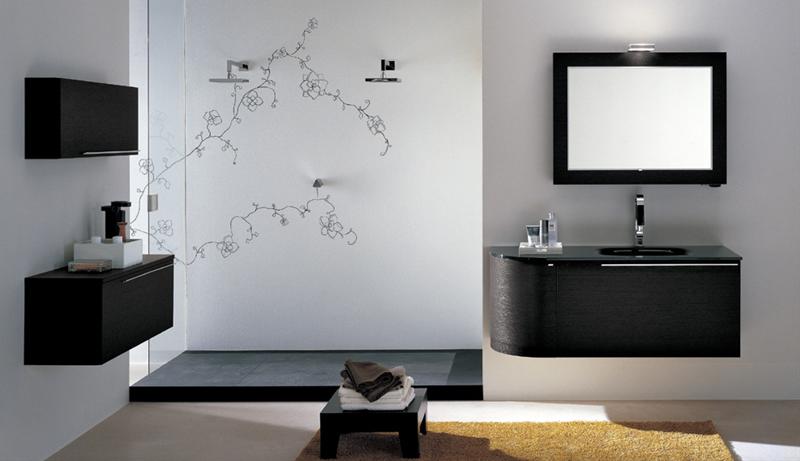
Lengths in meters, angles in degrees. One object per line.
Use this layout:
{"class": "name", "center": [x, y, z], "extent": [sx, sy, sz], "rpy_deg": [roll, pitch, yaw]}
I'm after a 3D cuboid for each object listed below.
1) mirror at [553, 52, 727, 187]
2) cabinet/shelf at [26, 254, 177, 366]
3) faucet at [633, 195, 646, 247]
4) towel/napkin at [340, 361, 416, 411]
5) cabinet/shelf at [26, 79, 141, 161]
{"class": "mirror", "center": [2.160, -1.002, 5.376], "extent": [1.262, 1.009, 0.159], "rpy_deg": [0, 1, 2]}
{"class": "cabinet/shelf", "center": [-2.332, 0.612, 4.807], "extent": [0.549, 0.638, 1.014], "rpy_deg": [2, 8, 20]}
{"class": "faucet", "center": [2.135, -0.090, 5.445], "extent": [0.094, 0.448, 0.163], "rpy_deg": [2, 8, 20]}
{"class": "towel/napkin", "center": [-0.186, 1.201, 4.703], "extent": [0.426, 0.171, 0.412], "rpy_deg": [0, 2, 4]}
{"class": "cabinet/shelf", "center": [-2.435, -0.866, 4.778], "extent": [0.295, 0.590, 0.852], "rpy_deg": [3, 9, 29]}
